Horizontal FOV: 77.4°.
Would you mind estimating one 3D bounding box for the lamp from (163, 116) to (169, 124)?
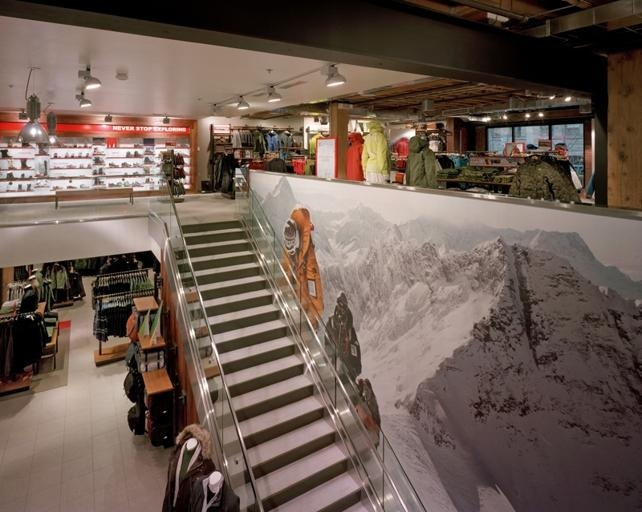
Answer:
[{"bbox_3d":[-4.918,-4.361,12.865,0.177,0.232,0.784,-4,15,-25],"label":"lamp"}]

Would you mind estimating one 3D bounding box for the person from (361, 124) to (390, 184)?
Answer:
[{"bbox_3d":[1.067,-1.936,7.521,0.468,1.095,0.784,2,12,0],"label":"person"}]

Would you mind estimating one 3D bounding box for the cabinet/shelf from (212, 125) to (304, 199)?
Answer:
[{"bbox_3d":[-2.286,-3.269,13.930,3.077,2.381,3.827,-2,14,-16],"label":"cabinet/shelf"}]

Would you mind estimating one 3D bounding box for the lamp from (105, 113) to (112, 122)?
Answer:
[{"bbox_3d":[-6.263,-4.084,11.897,0.139,0.249,1.073,-5,15,-28],"label":"lamp"}]

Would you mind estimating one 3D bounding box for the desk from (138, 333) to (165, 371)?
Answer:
[{"bbox_3d":[-3.307,1.833,7.844,0.537,0.565,0.744,-3,20,-35],"label":"desk"}]

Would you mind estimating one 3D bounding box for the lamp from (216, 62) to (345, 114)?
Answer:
[{"bbox_3d":[-0.935,-3.232,8.032,1.006,0.451,5.492,-5,16,-28],"label":"lamp"}]

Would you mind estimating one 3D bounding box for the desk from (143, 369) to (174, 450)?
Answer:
[{"bbox_3d":[-2.903,2.800,7.338,0.524,1.164,0.697,-4,13,-26],"label":"desk"}]

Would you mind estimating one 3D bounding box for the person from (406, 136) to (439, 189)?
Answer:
[{"bbox_3d":[1.821,-1.687,7.206,0.676,0.862,0.353,10,14,33],"label":"person"}]
